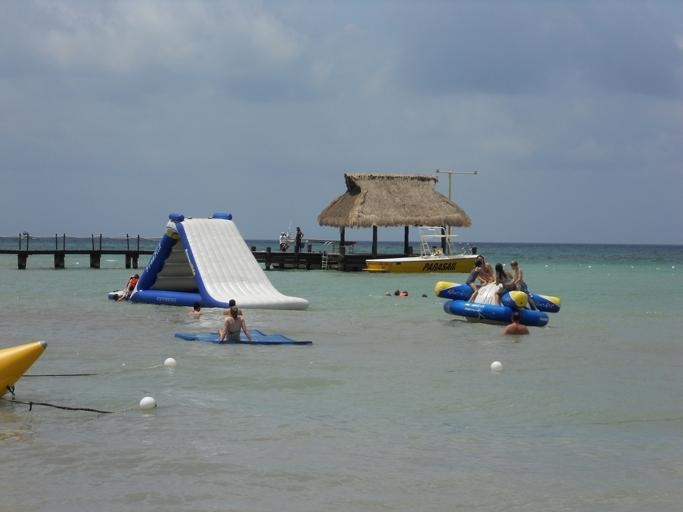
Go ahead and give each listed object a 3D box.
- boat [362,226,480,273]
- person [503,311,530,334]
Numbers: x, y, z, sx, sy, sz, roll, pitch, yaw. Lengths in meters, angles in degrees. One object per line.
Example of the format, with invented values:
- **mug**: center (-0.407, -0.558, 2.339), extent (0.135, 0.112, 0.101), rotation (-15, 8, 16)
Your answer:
- **boat**: center (3.964, -0.135, 41.195), extent (5.683, 2.001, 2.287), rotation (-3, 3, -13)
- **person**: center (3.421, 1.319, 18.272), extent (0.471, 0.391, 0.782), rotation (2, 6, 11)
